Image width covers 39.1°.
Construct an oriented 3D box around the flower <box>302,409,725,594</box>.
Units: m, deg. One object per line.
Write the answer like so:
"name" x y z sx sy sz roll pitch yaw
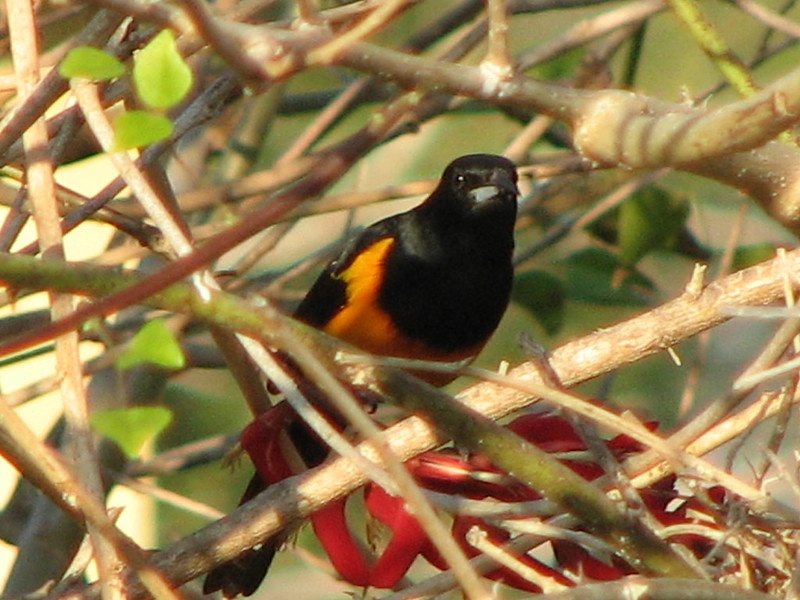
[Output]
"flower" 0.226 0.481 2.672 1.299 0.383 0.340 -6 -6 9
